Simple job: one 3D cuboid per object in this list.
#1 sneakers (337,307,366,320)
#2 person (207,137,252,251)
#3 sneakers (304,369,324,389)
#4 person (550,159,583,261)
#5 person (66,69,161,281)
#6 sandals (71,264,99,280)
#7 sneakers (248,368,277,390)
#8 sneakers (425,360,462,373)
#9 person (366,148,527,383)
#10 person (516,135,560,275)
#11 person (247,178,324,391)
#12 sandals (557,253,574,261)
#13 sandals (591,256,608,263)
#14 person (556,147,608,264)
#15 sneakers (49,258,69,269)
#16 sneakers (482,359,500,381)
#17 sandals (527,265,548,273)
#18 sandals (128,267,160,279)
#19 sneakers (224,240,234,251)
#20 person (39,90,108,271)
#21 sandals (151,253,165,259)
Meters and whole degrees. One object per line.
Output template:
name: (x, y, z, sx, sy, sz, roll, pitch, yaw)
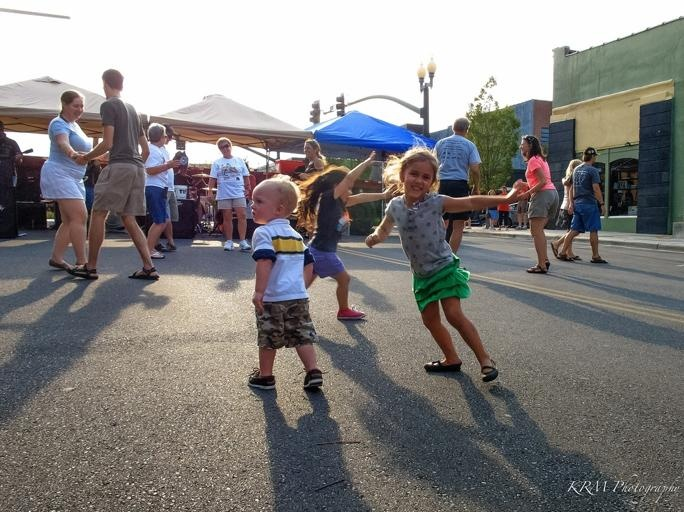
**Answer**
sneakers: (0.089, 0.583, 4.440, 0.272, 0.120, 0.106, 2, -3, -7)
person: (-2.402, -1.330, 9.663, 0.920, 2.361, 0.814, 2, 7, 4)
sneakers: (-0.177, 0.759, 2.737, 0.120, 0.124, 0.112, 1, 7, -3)
person: (5.445, -1.027, 10.711, 0.717, 2.323, 0.830, 5, 7, -3)
person: (-3.081, -1.113, 6.090, 1.023, 2.761, 1.004, 2, -1, -34)
sandals: (-3.277, 0.224, 5.785, 0.401, 0.189, 0.149, 11, -2, -15)
sneakers: (-0.488, 0.755, 2.744, 0.191, 0.084, 0.078, 4, 1, 40)
sneakers: (0.705, 0.761, 3.136, 0.246, 0.084, 0.090, 3, -3, 3)
person: (0.663, 0.023, 3.092, 0.974, 1.550, 0.425, 7, 8, 36)
person: (3.332, -0.914, 7.769, 0.802, 2.350, 0.796, 0, -6, 10)
person: (-0.364, 0.144, 2.856, 0.448, 1.303, 0.576, 0, 7, -11)
sandals: (4.585, 0.038, 9.231, 0.342, 0.140, 0.116, 9, 8, 13)
sandals: (5.196, 0.085, 9.024, 0.429, 0.190, 0.145, 0, 3, -12)
person: (5.104, -1.054, 9.470, 0.920, 2.346, 0.989, 1, 4, 34)
sneakers: (-3.823, 0.116, 6.038, 0.214, 0.079, 0.080, 13, 29, -11)
sneakers: (0.966, 0.764, 2.919, 0.156, 0.115, 0.092, -1, 7, -20)
sandals: (3.281, 0.248, 7.515, 0.282, 0.120, 0.144, 5, 5, 19)
sandals: (-2.609, 0.220, 5.929, 0.325, 0.143, 0.161, 4, 0, 0)
sneakers: (-2.447, -0.211, 9.609, 0.147, 0.177, 0.384, -1, 1, -1)
person: (-3.557, -0.955, 5.832, 0.598, 2.408, 0.886, -3, 8, -33)
sandals: (-3.317, 0.012, 8.063, 0.272, 0.111, 0.099, 0, 9, -5)
